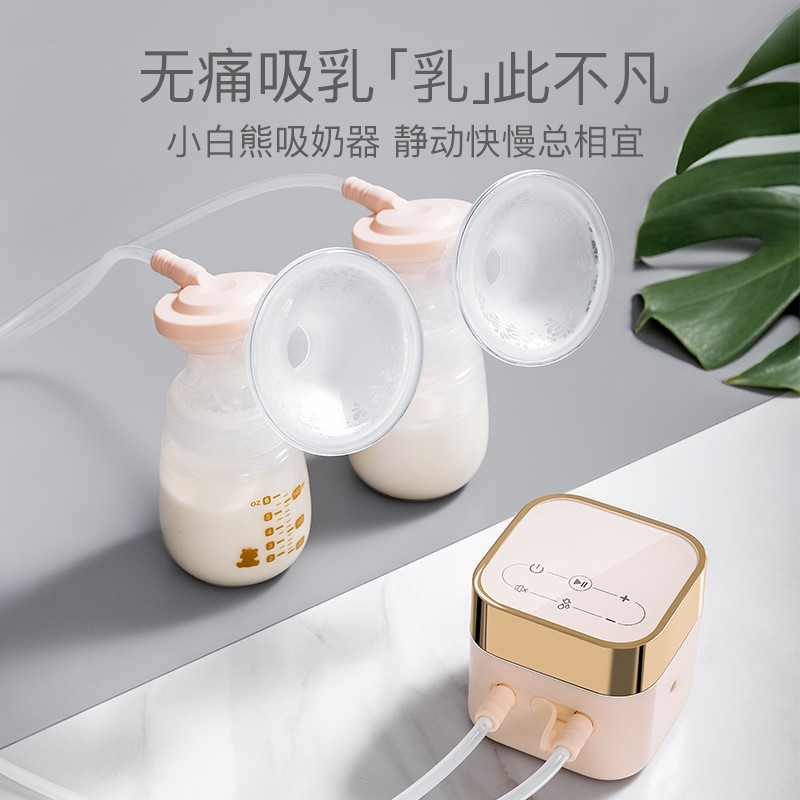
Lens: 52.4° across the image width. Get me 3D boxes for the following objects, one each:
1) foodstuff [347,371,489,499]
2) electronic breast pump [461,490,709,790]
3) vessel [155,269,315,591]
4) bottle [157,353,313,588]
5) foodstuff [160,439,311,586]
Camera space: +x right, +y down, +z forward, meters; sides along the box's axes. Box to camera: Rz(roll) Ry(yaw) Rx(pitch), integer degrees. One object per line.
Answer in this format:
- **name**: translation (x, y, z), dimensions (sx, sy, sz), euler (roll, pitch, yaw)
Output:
- **foodstuff**: translation (0.015, 0.002, 0.752), dimensions (0.101, 0.117, 0.113), euler (-9, 32, -13)
- **electronic breast pump**: translation (0.123, 0.171, 0.545), dimensions (0.145, 0.137, 0.162), euler (-10, 21, -9)
- **vessel**: translation (-0.122, 0.040, 0.611), dimensions (0.116, 0.272, 0.104), euler (3, 19, -7)
- **bottle**: translation (-0.132, 0.036, 0.652), dimensions (0.113, 0.223, 0.130), euler (-5, 36, -10)
- **foodstuff**: translation (-0.132, 0.065, 0.685), dimensions (0.103, 0.119, 0.114), euler (-7, 26, -15)
